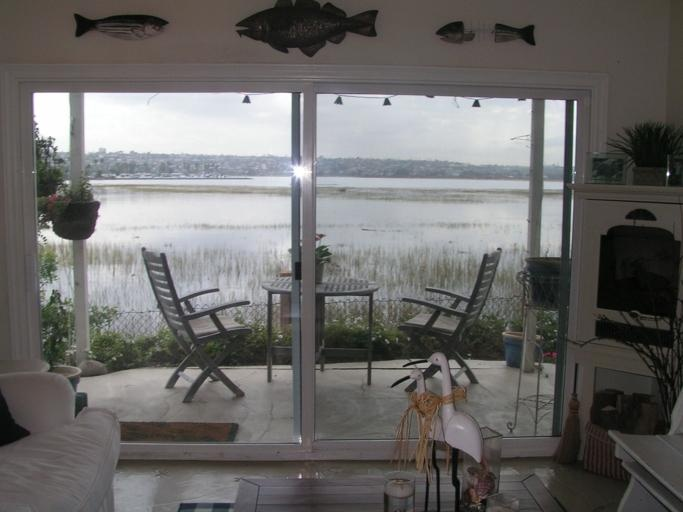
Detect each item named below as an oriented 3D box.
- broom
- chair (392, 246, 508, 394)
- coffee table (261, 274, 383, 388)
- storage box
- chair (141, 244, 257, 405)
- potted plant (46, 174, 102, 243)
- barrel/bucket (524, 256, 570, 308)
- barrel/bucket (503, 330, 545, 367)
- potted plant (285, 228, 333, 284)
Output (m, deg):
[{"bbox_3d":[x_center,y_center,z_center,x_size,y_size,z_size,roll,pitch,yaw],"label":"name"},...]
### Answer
[{"bbox_3d":[1.561,1.185,4.573,0.171,0.489,0.094,-1,6,-4],"label":"broom"},{"bbox_3d":[0.797,0.469,4.870,0.712,1.006,0.746,2,6,1],"label":"chair"},{"bbox_3d":[-0.096,0.490,4.376,0.697,0.662,0.751,-1,10,-8],"label":"coffee table"},{"bbox_3d":[1.852,1.196,4.553,0.374,0.498,0.455,-1,3,-41],"label":"storage box"},{"bbox_3d":[-1.034,0.485,4.779,0.684,1.083,0.626,-3,8,-23],"label":"chair"},{"bbox_3d":[-1.875,-0.326,4.696,0.359,0.448,0.313,-5,7,-23],"label":"potted plant"},{"bbox_3d":[1.455,0.170,4.794,0.299,0.389,0.320,-2,4,0],"label":"barrel/bucket"},{"bbox_3d":[1.286,0.628,4.705,0.243,0.202,0.253,0,1,0],"label":"barrel/bucket"},{"bbox_3d":[-0.178,0.031,4.659,0.270,0.319,0.315,-8,4,-36],"label":"potted plant"}]
